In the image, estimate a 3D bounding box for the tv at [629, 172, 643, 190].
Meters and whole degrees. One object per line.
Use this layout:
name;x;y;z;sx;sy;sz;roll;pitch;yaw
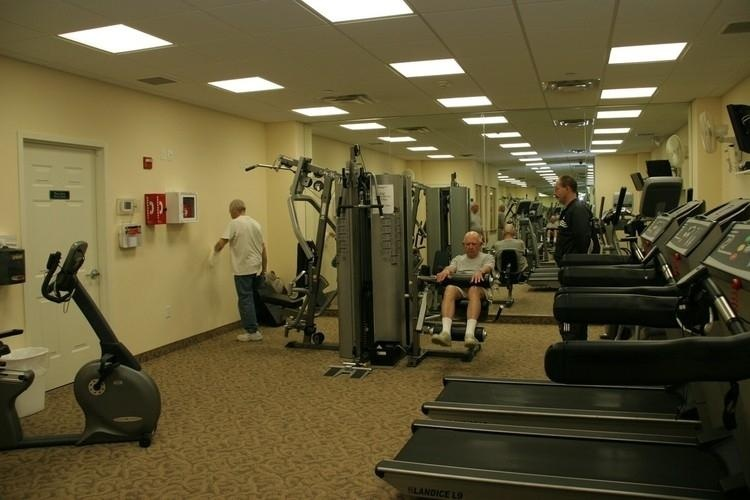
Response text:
tv;3.761;-0.993;7.501;0.148;0.263;0.713;2;9;26

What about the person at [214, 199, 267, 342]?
person;-1.942;0.145;7.398;0.639;2.095;0.646;8;15;6

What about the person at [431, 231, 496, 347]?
person;1.030;0.392;6.030;0.936;1.151;1.022;1;4;34

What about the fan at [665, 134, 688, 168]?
fan;4.098;-1.354;7.097;0.190;0.440;0.494;2;9;26

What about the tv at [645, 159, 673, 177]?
tv;3.598;-1.057;6.613;0.268;0.194;0.360;2;9;28
